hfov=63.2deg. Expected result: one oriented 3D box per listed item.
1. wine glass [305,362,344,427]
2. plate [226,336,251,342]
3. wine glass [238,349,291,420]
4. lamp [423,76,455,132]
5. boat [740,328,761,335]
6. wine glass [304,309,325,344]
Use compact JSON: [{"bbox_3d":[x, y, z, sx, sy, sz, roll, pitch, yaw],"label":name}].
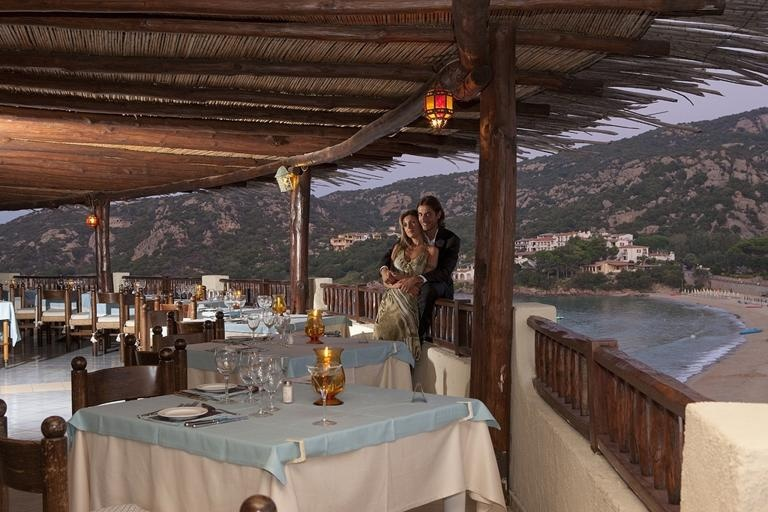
[{"bbox_3d":[-0.321,0.705,3.145,0.220,0.282,0.213,-16,-18,15],"label":"wine glass"},{"bbox_3d":[-1.253,0.718,5.411,0.188,0.019,0.192,-1,-3,34],"label":"plate"},{"bbox_3d":[-0.617,0.671,3.298,0.306,0.418,0.303,-1,-7,0],"label":"wine glass"},{"bbox_3d":[0.446,-1.293,5.323,0.276,0.404,0.257,-2,6,2],"label":"lamp"},{"bbox_3d":[23.812,4.931,40.872,1.175,0.427,3.680,4,-2,31],"label":"boat"},{"bbox_3d":[-0.552,0.576,5.064,0.271,0.251,0.255,-2,-2,5],"label":"wine glass"}]
